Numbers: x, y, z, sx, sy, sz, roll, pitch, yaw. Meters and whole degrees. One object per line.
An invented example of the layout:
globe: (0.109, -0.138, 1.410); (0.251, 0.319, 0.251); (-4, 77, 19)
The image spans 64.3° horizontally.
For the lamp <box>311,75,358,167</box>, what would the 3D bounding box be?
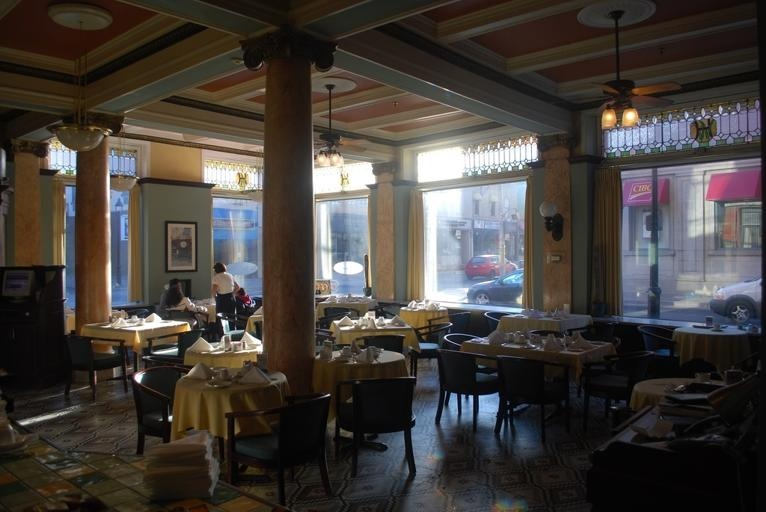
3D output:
lamp: (-0.872, -2.236, 10.326); (0.847, 1.400, 0.868); (-2, 3, -41)

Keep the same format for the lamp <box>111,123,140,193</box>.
lamp: (-5.355, -1.933, 12.654); (0.537, 1.419, 2.510); (0, -2, -23)

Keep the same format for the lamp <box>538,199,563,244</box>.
lamp: (3.195, -0.665, 11.614); (0.346, 0.758, 0.391); (-14, 18, -40)

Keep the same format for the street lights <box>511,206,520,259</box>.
street lights: (2.835, -0.414, 12.823); (0.138, 1.100, 0.506); (0, -2, -7)

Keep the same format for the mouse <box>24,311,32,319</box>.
mouse: (-5.727, 0.957, 9.830); (0.110, 0.110, 0.030); (-40, 9, -8)
